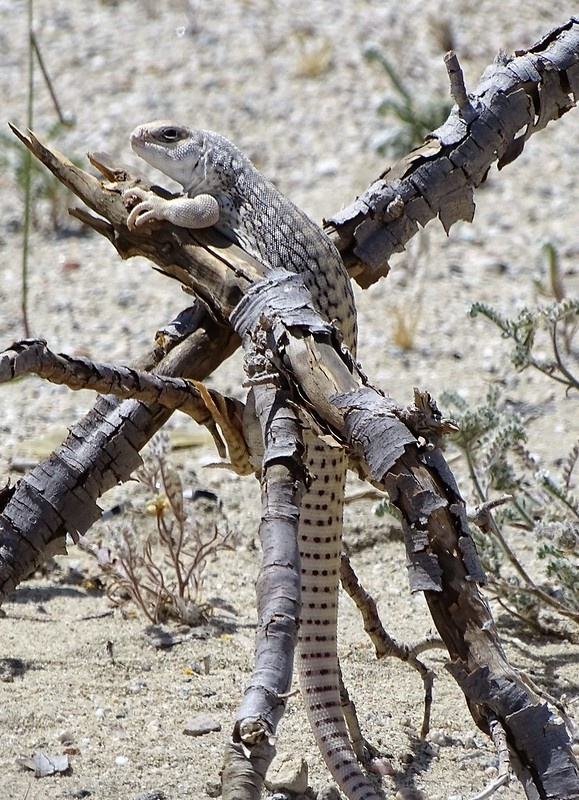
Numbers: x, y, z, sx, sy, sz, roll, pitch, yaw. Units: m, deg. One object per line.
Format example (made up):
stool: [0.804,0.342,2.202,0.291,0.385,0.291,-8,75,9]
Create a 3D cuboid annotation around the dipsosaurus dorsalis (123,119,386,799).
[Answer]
dipsosaurus dorsalis: [-0.062,0.096,4.050,0.731,2.210,0.403,15,-40,-41]
